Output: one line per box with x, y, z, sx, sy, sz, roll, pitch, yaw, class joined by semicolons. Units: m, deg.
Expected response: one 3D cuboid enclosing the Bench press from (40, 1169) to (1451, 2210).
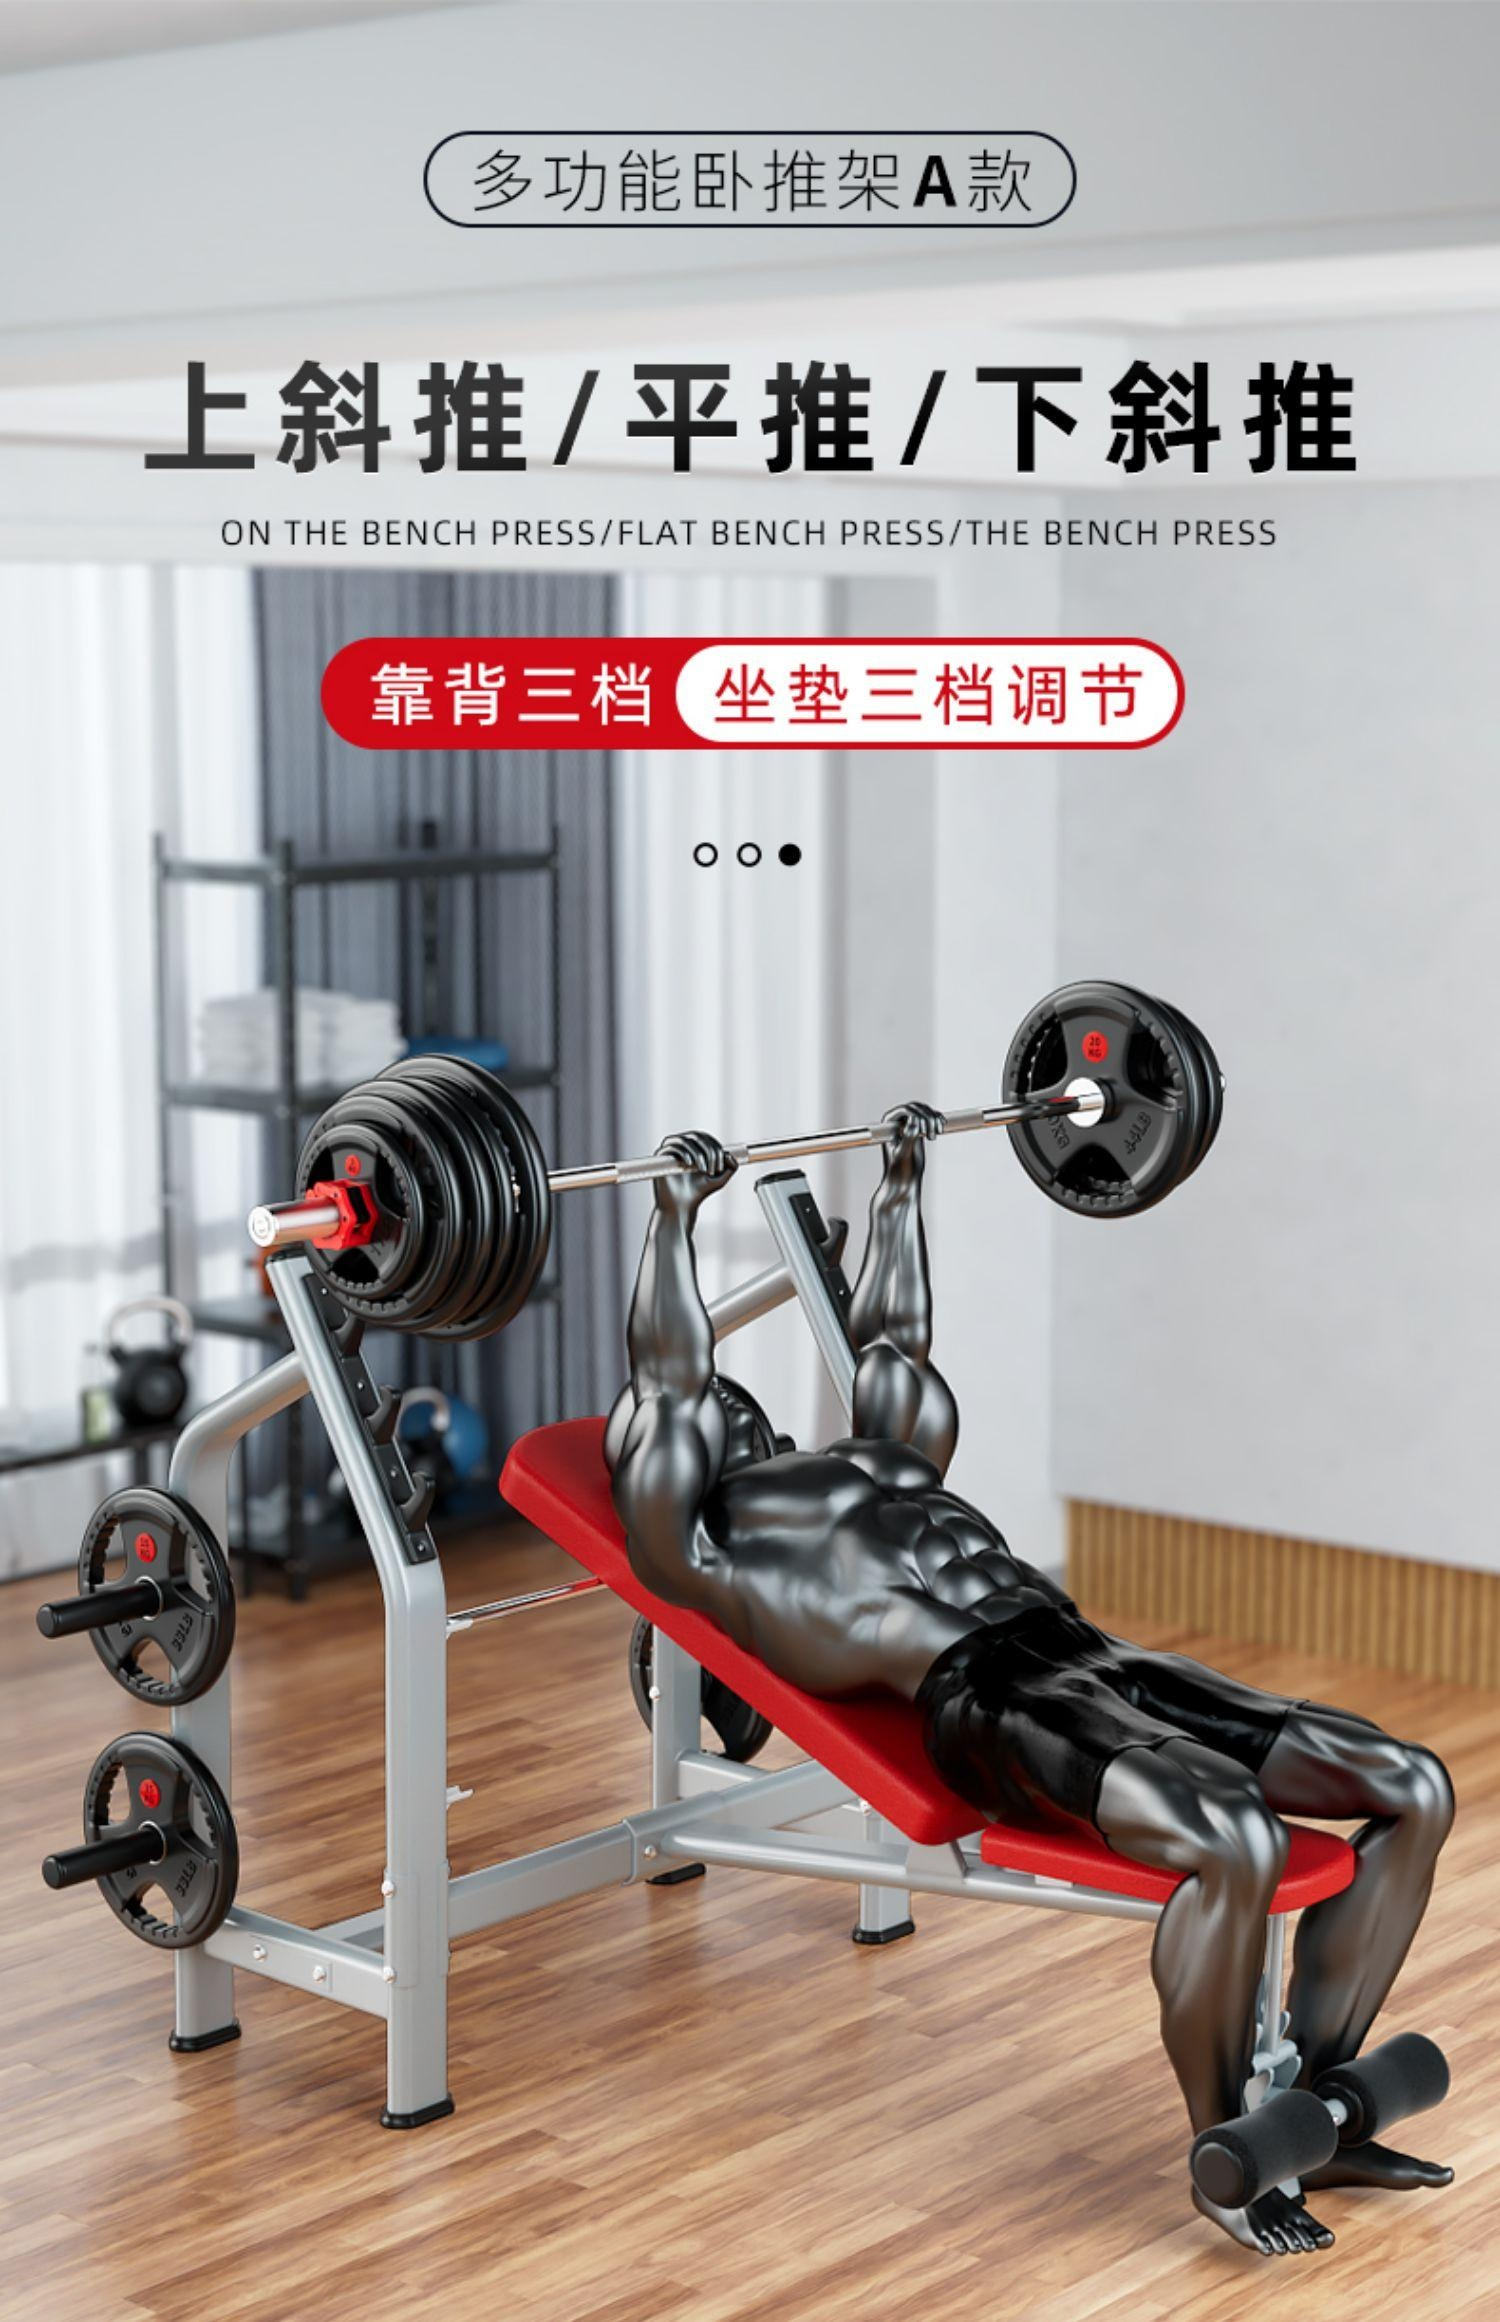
0.089;0.545;2.157;1.308;0.866;1.220;-3;-3;42;Bench press

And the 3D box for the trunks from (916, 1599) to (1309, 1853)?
0.295;0.499;1.833;0.231;0.082;0.237;12;15;36;trunks

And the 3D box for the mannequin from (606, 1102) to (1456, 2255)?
0.223;0.431;2.043;0.437;0.965;0.989;-4;1;-38;mannequin

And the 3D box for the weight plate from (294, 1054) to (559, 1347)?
-0.270;0.034;2.011;0.248;0.269;0.271;2;3;37;weight plate
